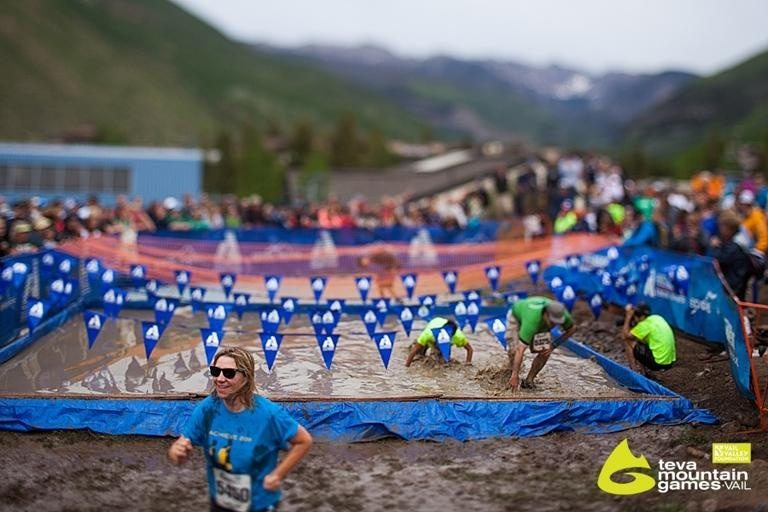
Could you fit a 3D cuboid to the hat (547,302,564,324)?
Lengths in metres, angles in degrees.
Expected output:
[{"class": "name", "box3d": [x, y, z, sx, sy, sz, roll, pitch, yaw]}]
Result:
[{"class": "hat", "box3d": [3.110, 1.014, 13.056, 0.351, 0.377, 0.301, 2, 3, 12]}]

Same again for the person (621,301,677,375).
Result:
[{"class": "person", "box3d": [5.064, 1.575, 13.714, 0.932, 1.346, 0.659, 4, 4, 43]}]

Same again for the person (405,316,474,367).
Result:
[{"class": "person", "box3d": [0.980, 1.806, 14.201, 1.377, 0.585, 0.828, -10, 26, -30]}]
